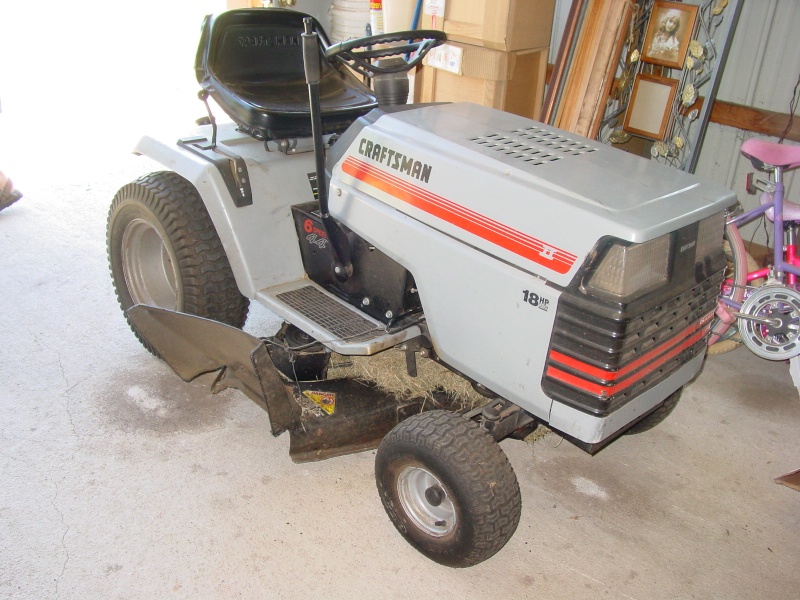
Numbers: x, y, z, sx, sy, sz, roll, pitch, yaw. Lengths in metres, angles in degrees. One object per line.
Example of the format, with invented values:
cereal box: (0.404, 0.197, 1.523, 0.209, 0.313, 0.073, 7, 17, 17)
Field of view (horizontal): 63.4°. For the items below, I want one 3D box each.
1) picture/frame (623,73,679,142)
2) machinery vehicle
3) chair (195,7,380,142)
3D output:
picture/frame: (1.601, -1.240, 4.155, 0.039, 0.387, 0.342, -12, 34, -27)
machinery vehicle: (-0.092, -0.172, 2.658, 2.344, 1.706, 1.340, 25, 41, 33)
chair: (-0.553, -1.035, 3.025, 0.847, 0.493, 0.758, -18, 41, -29)
